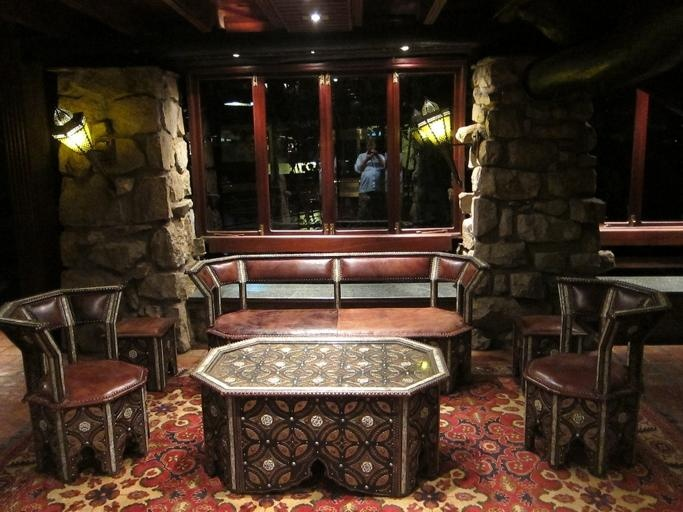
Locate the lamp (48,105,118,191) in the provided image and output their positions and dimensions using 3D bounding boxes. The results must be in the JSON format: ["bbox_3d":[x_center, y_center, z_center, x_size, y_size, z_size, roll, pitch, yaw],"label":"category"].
[{"bbox_3d":[-2.490,-1.080,5.073,0.443,0.233,0.960,-12,-5,-1],"label":"lamp"}]

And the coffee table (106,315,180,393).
[{"bbox_3d":[-1.682,0.889,4.828,0.698,0.542,0.618,0,8,0],"label":"coffee table"}]

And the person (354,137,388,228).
[{"bbox_3d":[0.316,-0.842,5.672,0.310,0.902,0.088,-3,11,-5],"label":"person"}]

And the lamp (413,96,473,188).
[{"bbox_3d":[1.002,-1.181,5.489,0.511,0.977,0.387,-11,14,-42],"label":"lamp"}]

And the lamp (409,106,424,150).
[{"bbox_3d":[0.772,-1.365,5.444,0.211,0.321,0.299,2,11,5],"label":"lamp"}]

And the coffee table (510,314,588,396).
[{"bbox_3d":[1.687,0.836,4.615,0.752,0.581,0.675,-1,5,5],"label":"coffee table"}]

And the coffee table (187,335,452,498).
[{"bbox_3d":[-0.132,1.114,3.638,1.702,0.828,0.680,-1,10,3],"label":"coffee table"}]
